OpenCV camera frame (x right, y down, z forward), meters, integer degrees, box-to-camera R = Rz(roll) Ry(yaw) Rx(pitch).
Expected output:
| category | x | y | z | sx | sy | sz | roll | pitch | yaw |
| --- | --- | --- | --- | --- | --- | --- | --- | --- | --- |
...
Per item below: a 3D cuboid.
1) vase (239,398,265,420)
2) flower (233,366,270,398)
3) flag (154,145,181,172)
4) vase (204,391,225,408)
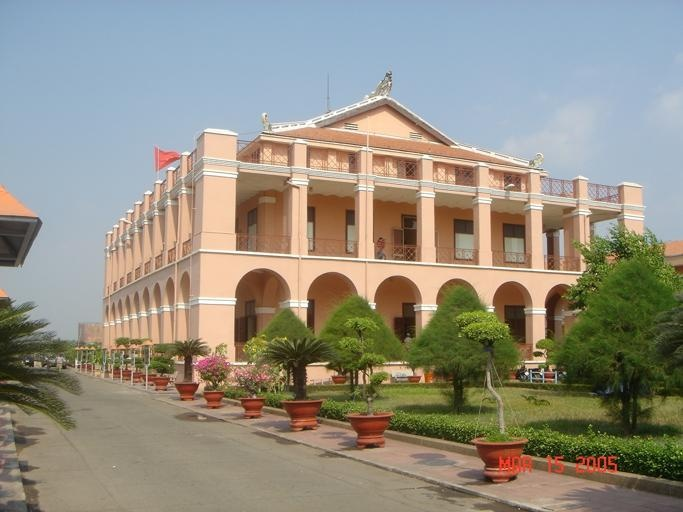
| category | x | y | z | sx | sy | sz | roll | pitch | yaw |
| --- | --- | --- | --- | --- | --- | --- | --- | --- | --- |
| vase | -2.406 | 4.163 | 19.072 | 0.616 | 0.409 | 0.581 | 0 | -17 | -2 |
| flower | -2.817 | 3.893 | 22.007 | 0.991 | 1.080 | 3.114 | 1 | -13 | -8 |
| flag | -9.502 | -5.128 | 36.922 | 1.051 | 1.353 | 1.502 | 12 | -18 | -43 |
| vase | -3.893 | 4.379 | 21.462 | 0.590 | 0.362 | 0.565 | -2 | -8 | 6 |
